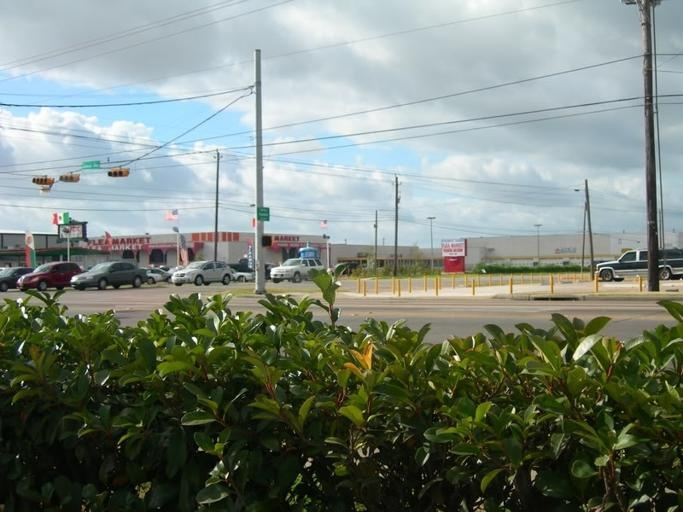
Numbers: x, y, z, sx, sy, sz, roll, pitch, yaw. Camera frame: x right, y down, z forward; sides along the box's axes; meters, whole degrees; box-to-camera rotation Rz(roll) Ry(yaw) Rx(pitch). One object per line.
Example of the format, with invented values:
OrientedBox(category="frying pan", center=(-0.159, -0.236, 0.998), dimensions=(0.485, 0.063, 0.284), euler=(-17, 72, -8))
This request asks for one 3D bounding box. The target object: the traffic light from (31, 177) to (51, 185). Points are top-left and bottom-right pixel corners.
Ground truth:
OrientedBox(category="traffic light", center=(-16.473, -4.091, 38.025), dimensions=(0.925, 0.598, 0.492), euler=(0, -1, 9))

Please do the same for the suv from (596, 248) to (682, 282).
OrientedBox(category="suv", center=(15.835, 0.520, 36.669), dimensions=(4.211, 1.639, 1.991), euler=(1, 0, 39))
